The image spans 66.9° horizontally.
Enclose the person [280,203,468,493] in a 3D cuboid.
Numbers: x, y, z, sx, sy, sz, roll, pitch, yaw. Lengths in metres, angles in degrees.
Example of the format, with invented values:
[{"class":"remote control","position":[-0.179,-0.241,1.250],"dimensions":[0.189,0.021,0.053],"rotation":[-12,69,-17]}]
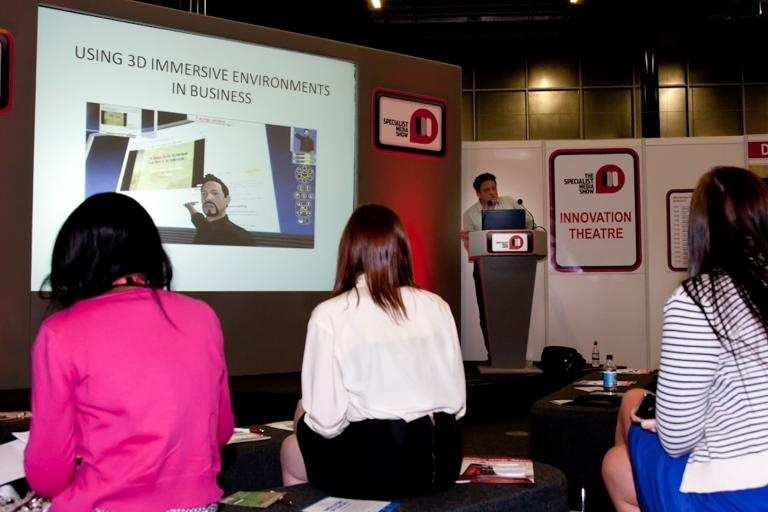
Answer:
[{"class":"person","position":[-0.016,0.383,2.363],"dimensions":[0.696,1.196,0.275],"rotation":[1,2,9]}]

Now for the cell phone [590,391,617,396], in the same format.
[{"class":"cell phone","position":[1.353,0.839,3.557],"dimensions":[0.072,0.018,0.068],"rotation":[3,-5,-15]}]
